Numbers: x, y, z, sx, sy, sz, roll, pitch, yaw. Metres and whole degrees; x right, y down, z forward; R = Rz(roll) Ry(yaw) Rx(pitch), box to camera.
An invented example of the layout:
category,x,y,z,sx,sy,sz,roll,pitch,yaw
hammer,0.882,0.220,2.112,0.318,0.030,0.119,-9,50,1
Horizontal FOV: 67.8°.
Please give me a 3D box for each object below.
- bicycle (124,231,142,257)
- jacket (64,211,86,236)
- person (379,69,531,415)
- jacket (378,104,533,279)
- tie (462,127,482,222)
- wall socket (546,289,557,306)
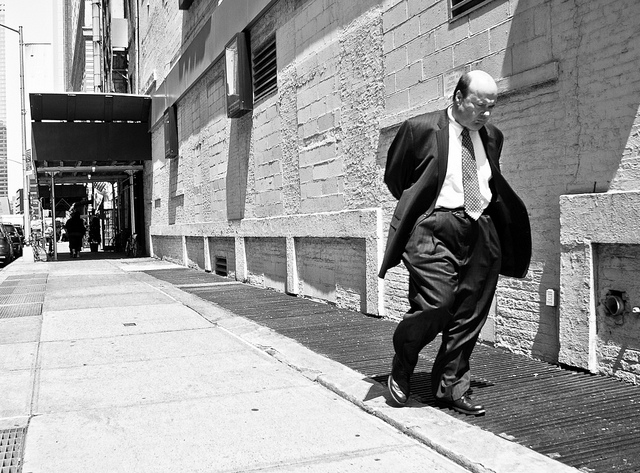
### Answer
category,x,y,z,sx,sy,sz,roll,pitch,yaw
bicycle,-9.615,0.525,24.354,0.680,0.856,1.390,3,11,-34
jacket,-12.542,-0.697,24.387,0.807,1.164,2.121,-2,2,-29
person,0.993,0.073,3.527,1.048,2.462,0.465,-1,2,13
jacket,0.971,-0.323,3.587,1.148,1.300,0.359,-1,2,-9
tie,1.078,-0.444,3.422,0.103,0.788,0.035,3,-22,1
wall socket,2.264,0.593,4.641,0.094,0.164,0.066,0,2,26
